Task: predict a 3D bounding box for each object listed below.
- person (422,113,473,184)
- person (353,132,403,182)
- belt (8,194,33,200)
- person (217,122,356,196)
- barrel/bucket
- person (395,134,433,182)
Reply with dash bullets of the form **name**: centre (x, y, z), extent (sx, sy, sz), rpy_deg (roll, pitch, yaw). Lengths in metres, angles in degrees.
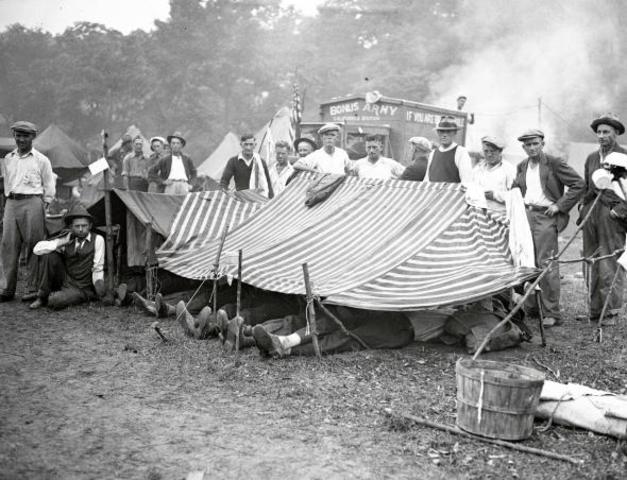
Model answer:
- **person**: centre (1.811, -1.215, 10.378), extent (0.436, 0.732, 0.730), rpy_deg (2, 1, -35)
- **person**: centre (0.972, -1.266, 11.679), extent (0.857, 0.641, 0.419), rpy_deg (1, 8, 22)
- **belt**: centre (-4.071, -0.605, 10.651), extent (0.317, 0.088, 0.089), rpy_deg (3, 1, 8)
- **person**: centre (-0.592, -1.176, 12.176), extent (1.526, 0.799, 1.477), rpy_deg (-9, 3, -42)
- **barrel/bucket**: centre (1.727, 1.437, 7.288), extent (0.769, 0.544, 0.743), rpy_deg (5, -1, 0)
- **person**: centre (1.528, -1.136, 11.113), extent (0.839, 0.733, 0.367), rpy_deg (-6, 6, -43)
